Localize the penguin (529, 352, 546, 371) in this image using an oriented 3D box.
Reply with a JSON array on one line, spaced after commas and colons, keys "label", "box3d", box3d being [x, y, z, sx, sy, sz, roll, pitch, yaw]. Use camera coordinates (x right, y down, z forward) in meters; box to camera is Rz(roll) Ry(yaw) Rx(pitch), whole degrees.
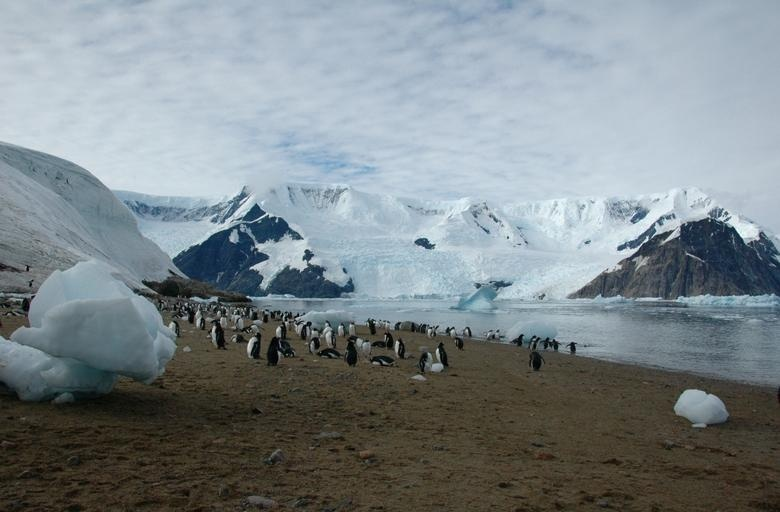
[{"label": "penguin", "box3d": [6.075, 4.307, 25.111, 0.495, 0.678, 0.796, 1, -3, 5]}]
